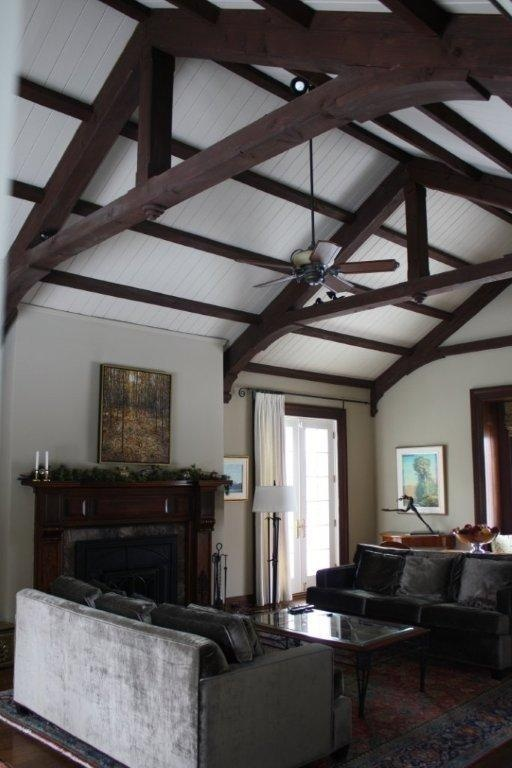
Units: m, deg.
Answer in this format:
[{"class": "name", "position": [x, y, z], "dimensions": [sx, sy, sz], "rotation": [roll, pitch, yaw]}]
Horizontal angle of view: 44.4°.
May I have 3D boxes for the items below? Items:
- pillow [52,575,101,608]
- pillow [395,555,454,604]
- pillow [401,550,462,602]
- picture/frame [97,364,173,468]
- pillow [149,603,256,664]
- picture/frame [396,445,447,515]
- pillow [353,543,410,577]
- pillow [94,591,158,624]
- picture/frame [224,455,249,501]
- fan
[{"class": "pillow", "position": [-1.067, 1.223, 3.696], "dimensions": [0.327, 0.104, 0.140], "rotation": [-1, -31, 48]}, {"class": "pillow", "position": [1.412, 1.618, 5.307], "dimensions": [0.136, 0.388, 0.402], "rotation": [37, -29, -30]}, {"class": "pillow", "position": [1.474, 1.632, 5.313], "dimensions": [0.128, 0.403, 0.422], "rotation": [37, -27, -31]}, {"class": "picture/frame", "position": [-1.213, 0.328, 6.117], "dimensions": [0.080, 1.105, 0.934], "rotation": [-11, -16, 41]}, {"class": "pillow", "position": [-0.227, 1.155, 3.019], "dimensions": [0.433, 0.141, 0.226], "rotation": [7, 4, 41]}, {"class": "picture/frame", "position": [2.351, 1.359, 8.738], "dimensions": [0.047, 1.122, 0.939], "rotation": [9, -13, -35]}, {"class": "pillow", "position": [1.162, 1.643, 5.948], "dimensions": [0.350, 0.274, 0.325], "rotation": [-1, -27, 12]}, {"class": "pillow", "position": [-0.705, 1.181, 3.316], "dimensions": [0.295, 0.105, 0.266], "rotation": [2, -15, 31]}, {"class": "picture/frame", "position": [-0.242, 1.130, 7.418], "dimensions": [0.042, 0.576, 0.543], "rotation": [-9, -13, 37]}, {"class": "fan", "position": [0.434, -1.243, 4.571], "dimensions": [1.053, 1.041, 1.009], "rotation": [-3, 1, 9]}]
